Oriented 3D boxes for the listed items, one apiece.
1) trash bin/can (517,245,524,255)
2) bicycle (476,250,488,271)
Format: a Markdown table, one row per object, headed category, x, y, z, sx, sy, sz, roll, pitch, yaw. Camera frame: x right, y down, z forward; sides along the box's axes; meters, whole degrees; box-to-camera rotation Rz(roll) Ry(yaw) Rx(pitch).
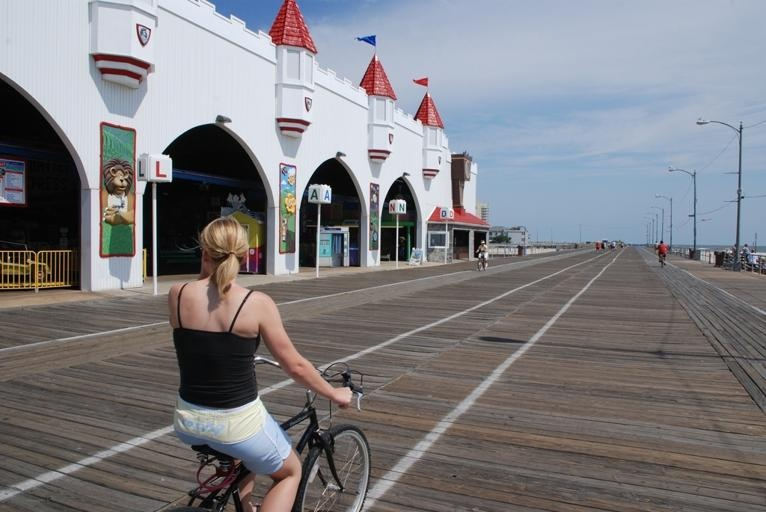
| category | x | y | z | sx | sy | sz | roll | pitch | yaw |
| --- | --- | --- | --- | --- | --- | --- | --- | --- | --- |
| trash bin/can | 16.337 | -0.633 | 68.632 | 0.927 | 1.115 | 0.963 | -1 | 2 | 9 |
| bicycle | 6.102 | 0.351 | 36.573 | 0.759 | 0.960 | 1.519 | -2 | -5 | 23 |
